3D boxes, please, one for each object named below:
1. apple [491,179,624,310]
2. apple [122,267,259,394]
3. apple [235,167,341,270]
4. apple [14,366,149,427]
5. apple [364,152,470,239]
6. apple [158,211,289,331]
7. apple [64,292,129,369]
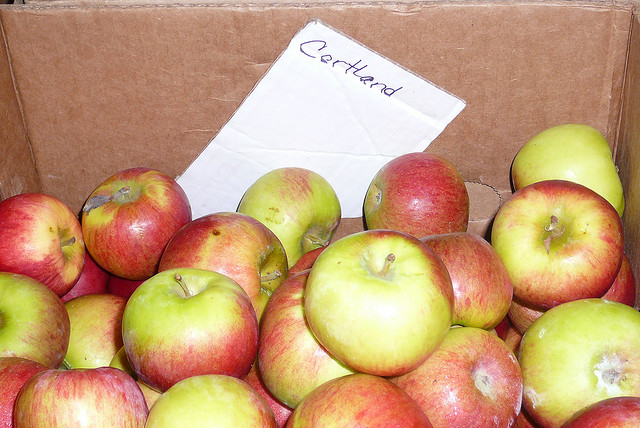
[{"bbox_3d":[0.726,0.093,1.783,0.356,0.379,0.373,22,-8,29],"label":"apple"},{"bbox_3d":[-0.318,0.251,1.549,0.288,0.330,0.302,4,24,-3],"label":"apple"},{"bbox_3d":[-0.060,-0.023,1.994,0.336,0.322,0.314,28,5,4],"label":"apple"},{"bbox_3d":[-0.563,0.444,1.390,0.306,0.129,0.120,4,34,-11],"label":"apple"},{"bbox_3d":[0.299,-0.061,1.828,0.243,0.298,0.273,1,-1,20],"label":"apple"},{"bbox_3d":[-0.266,0.166,1.749,0.306,0.324,0.313,17,36,9],"label":"apple"},{"bbox_3d":[-0.647,0.348,1.781,0.227,0.212,0.193,-21,-19,38],"label":"apple"}]
